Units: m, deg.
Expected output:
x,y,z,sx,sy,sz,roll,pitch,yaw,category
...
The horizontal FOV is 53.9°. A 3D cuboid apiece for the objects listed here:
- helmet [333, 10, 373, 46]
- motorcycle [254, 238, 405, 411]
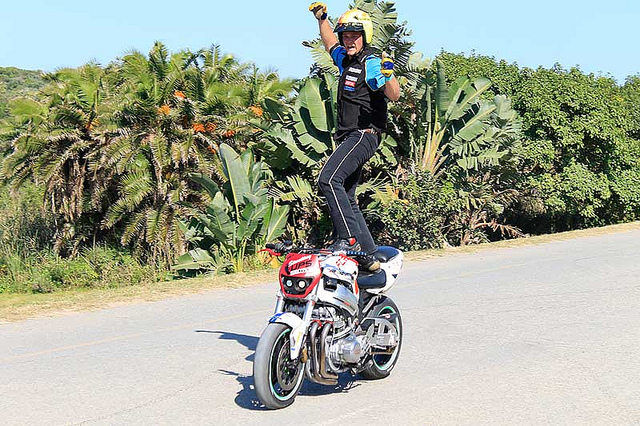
x,y,z,sx,sy,sz,roll,pitch,yaw,category
0.415,-2.268,7.637,0.463,0.464,0.269,-4,-4,-4,helmet
0.124,1.174,7.073,0.670,1.788,1.942,-8,-6,42,motorcycle
